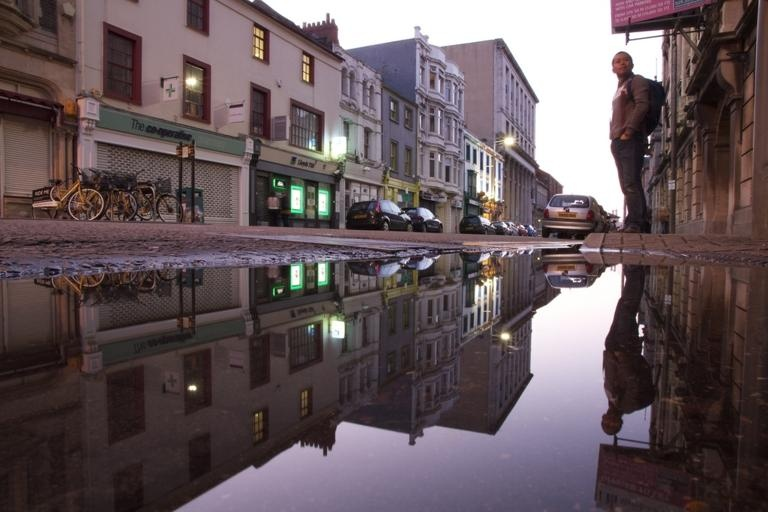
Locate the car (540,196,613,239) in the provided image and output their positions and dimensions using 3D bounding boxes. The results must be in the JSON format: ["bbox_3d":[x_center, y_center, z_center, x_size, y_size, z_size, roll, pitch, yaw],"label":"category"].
[{"bbox_3d":[5.008,-1.125,17.045,1.445,1.070,1.199,1,3,14],"label":"car"}]

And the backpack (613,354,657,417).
[{"bbox_3d":[0.927,0.455,2.376,0.116,0.250,0.173,5,-2,-42],"label":"backpack"}]

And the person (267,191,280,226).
[{"bbox_3d":[-3.894,-1.727,22.537,0.450,1.236,0.798,0,3,-11],"label":"person"}]

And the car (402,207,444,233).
[{"bbox_3d":[1.601,-1.478,26.072,0.785,0.623,1.786,3,5,35],"label":"car"}]

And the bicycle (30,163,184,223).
[{"bbox_3d":[-6.343,-1.277,15.066,1.121,1.537,3.120,-9,-13,41],"label":"bicycle"}]

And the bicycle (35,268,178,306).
[{"bbox_3d":[-1.664,0.176,3.931,0.851,0.087,1.111,-2,3,-28],"label":"bicycle"}]

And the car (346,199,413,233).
[{"bbox_3d":[-0.018,-1.405,22.047,1.096,0.783,1.797,2,4,37],"label":"car"}]
